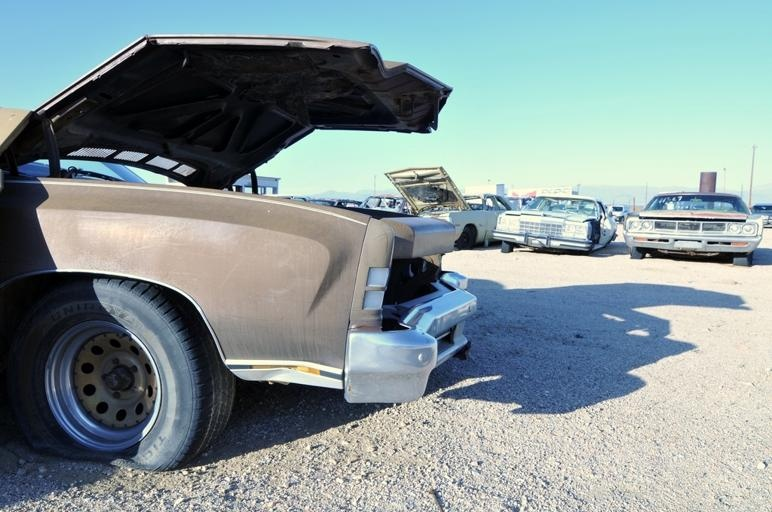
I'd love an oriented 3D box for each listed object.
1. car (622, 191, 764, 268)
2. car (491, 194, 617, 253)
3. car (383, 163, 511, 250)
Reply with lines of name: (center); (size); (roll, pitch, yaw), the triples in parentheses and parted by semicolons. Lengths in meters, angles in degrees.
car: (6.544, -0.667, 10.514); (1.764, 0.867, 2.963); (1, 1, 26)
car: (4.288, -0.810, 12.473); (2.176, 1.564, 2.807); (7, 10, 32)
car: (1.598, -1.207, 13.307); (2.036, 1.476, 3.519); (-4, -6, 41)
